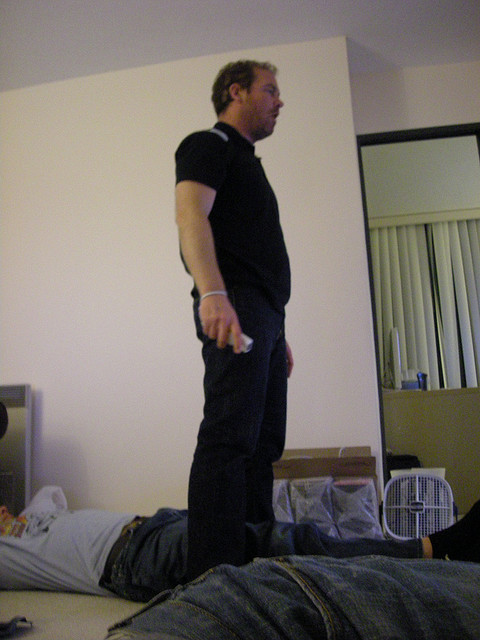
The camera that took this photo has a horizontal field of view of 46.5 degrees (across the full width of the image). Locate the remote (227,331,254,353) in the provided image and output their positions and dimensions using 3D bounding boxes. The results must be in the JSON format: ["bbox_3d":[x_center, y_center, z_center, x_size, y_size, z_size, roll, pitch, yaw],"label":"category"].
[{"bbox_3d":[0.001,0.036,0.992,0.020,0.027,0.046,38,-8,-35],"label":"remote"}]
